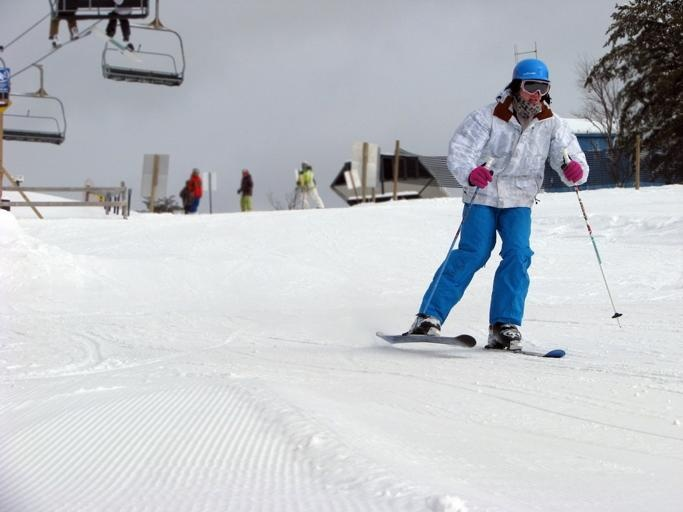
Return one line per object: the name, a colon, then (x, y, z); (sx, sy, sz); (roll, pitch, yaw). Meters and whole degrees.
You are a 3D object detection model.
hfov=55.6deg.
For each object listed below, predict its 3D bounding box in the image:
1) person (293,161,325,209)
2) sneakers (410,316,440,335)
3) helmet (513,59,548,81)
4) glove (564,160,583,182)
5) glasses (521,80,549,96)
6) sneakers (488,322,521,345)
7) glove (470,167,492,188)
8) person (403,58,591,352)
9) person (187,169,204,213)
person: (-1.021, -2.126, 20.346); (0.817, 1.769, 0.598); (-4, -28, 0)
sneakers: (0.560, 0.476, 4.348); (0.126, 0.146, 0.150); (8, -1, -26)
helmet: (1.238, -1.231, 4.246); (0.216, 0.160, 0.285); (-1, 4, 15)
glove: (1.577, -0.579, 4.420); (0.108, 0.146, 0.049); (-39, -1, 17)
glasses: (1.345, -1.129, 4.367); (0.244, 0.098, 0.151); (-5, 6, -39)
sneakers: (1.099, 0.524, 4.363); (0.100, 0.146, 0.269); (0, 2, -5)
glove: (0.929, -0.510, 4.299); (0.134, 0.136, 0.061); (-42, -18, 18)
person: (1.102, -0.359, 4.446); (1.246, 1.920, 0.496); (-2, 4, -10)
person: (-4.498, -1.988, 19.868); (0.418, 1.345, 1.308); (-3, 4, -14)
